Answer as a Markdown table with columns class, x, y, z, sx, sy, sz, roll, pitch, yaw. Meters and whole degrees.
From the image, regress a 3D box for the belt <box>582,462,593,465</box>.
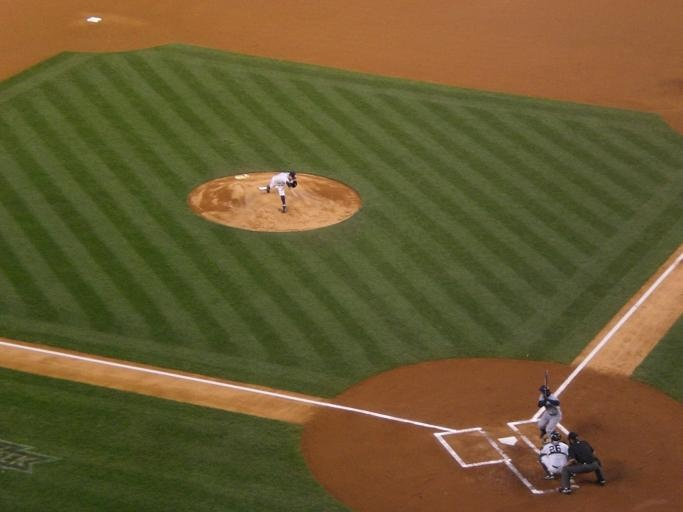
| class | x | y | z | sx | sy | sz | roll | pitch | yaw |
| --- | --- | --- | --- | --- | --- | --- | --- | --- | --- |
| belt | 8.249 | 6.914 | 36.786 | 0.247 | 0.080 | 0.031 | -1 | 31 | -1 |
